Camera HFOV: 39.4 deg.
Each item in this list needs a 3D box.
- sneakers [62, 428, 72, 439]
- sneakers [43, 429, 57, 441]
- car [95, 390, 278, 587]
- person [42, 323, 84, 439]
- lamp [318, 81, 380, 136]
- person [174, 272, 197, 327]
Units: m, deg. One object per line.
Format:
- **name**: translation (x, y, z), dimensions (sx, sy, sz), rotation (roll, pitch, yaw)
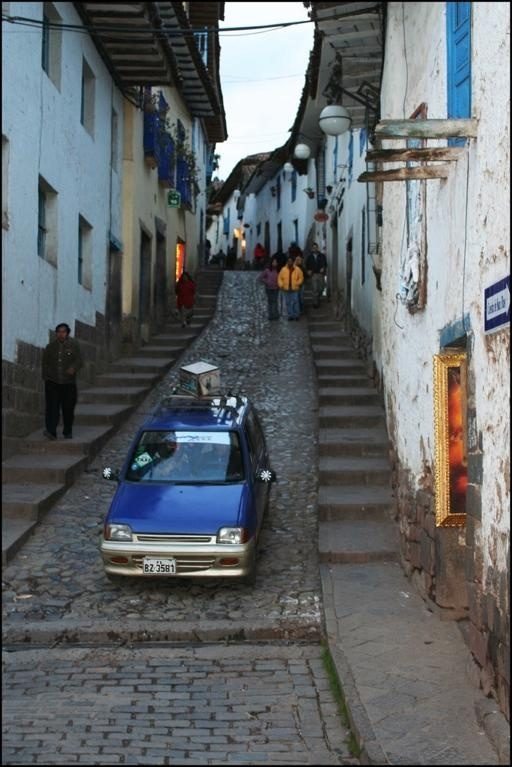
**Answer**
- **sneakers**: translation (-2.513, 0.663, 9.545), dimensions (0.070, 0.175, 0.160), rotation (3, 15, 5)
- **sneakers**: translation (-2.650, 0.670, 9.214), dimensions (0.196, 0.085, 0.134), rotation (46, -5, -31)
- **car**: translation (-0.549, 0.891, 6.566), dimensions (0.983, 1.004, 1.863), rotation (0, 10, 5)
- **person**: translation (-2.544, -0.028, 9.411), dimensions (0.487, 1.530, 0.495), rotation (-2, 1, -12)
- **lamp**: translation (1.389, -4.034, 10.541), dimensions (0.705, 0.673, 1.575), rotation (-2, 0, 6)
- **person**: translation (-1.817, -2.162, 18.116), dimensions (0.456, 1.309, 1.395), rotation (-2, 0, -6)
